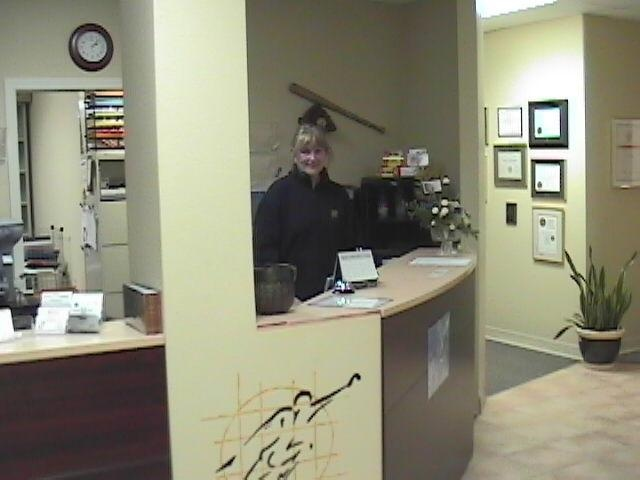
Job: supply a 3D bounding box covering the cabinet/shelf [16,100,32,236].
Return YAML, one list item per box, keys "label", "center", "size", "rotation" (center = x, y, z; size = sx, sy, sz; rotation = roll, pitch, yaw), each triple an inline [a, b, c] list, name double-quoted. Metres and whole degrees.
- label: "cabinet/shelf"
  center: [-3.698, -0.922, 6.949]
  size: [0.176, 1.718, 0.342]
  rotation: [-5, 6, -29]

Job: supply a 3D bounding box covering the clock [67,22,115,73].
- label: "clock"
  center: [-1.884, -1.595, 4.571]
  size: [0.324, 0.430, 0.050]
  rotation: [-3, -11, -16]

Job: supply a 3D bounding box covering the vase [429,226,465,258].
- label: "vase"
  center: [1.005, 0.005, 4.368]
  size: [0.209, 0.237, 0.217]
  rotation: [1, 4, 40]

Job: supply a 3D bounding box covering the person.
- label: "person"
  center: [-0.122, -0.239, 4.716]
  size: [0.916, 1.416, 0.468]
  rotation: [-3, 5, -14]

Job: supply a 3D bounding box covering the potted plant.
- label: "potted plant"
  center: [2.906, 0.658, 5.745]
  size: [0.816, 1.183, 0.573]
  rotation: [-4, 5, -16]
